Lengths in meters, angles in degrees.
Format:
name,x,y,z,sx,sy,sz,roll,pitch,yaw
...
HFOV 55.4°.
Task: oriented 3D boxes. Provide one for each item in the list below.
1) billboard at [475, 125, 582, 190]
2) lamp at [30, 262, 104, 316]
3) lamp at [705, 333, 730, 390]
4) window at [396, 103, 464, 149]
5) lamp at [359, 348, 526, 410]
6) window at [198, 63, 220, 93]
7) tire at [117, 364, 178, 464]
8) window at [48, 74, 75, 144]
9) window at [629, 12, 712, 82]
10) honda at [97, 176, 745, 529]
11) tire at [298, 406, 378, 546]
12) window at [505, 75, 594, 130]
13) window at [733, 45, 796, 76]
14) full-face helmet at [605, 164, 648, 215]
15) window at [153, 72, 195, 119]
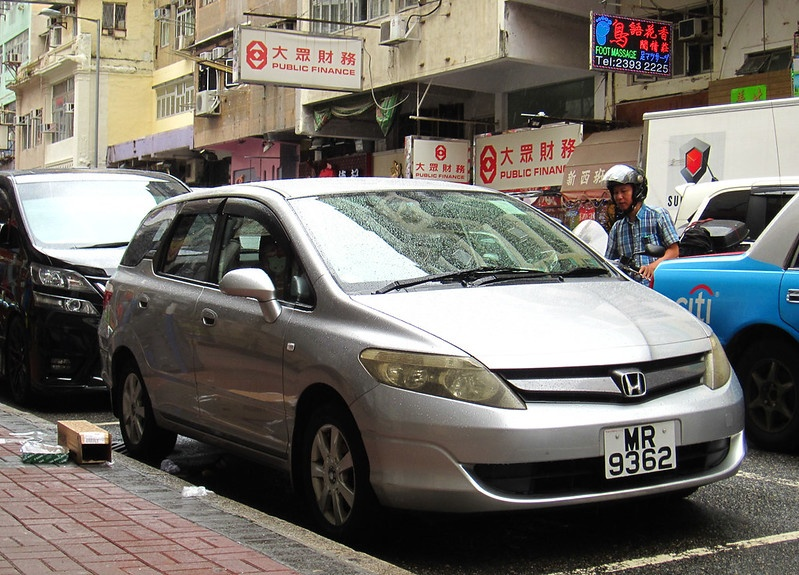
name,x,y,z,sx,sy,sz,roll,pitch,yaw
billboard,3.322,-3.384,20.093,3.445,1.686,0.124,3,4,42
lamp,-3.543,0.005,7.946,0.879,0.481,0.195,4,9,23
lamp,1.798,0.417,4.309,0.081,0.300,0.208,-1,-14,-5
window,1.004,-5.067,23.610,2.094,1.441,1.097,0,-4,34
lamp,0.175,0.456,3.829,0.542,0.182,0.340,-4,-13,43
window,-8.393,-9.072,32.934,0.372,1.548,1.514,6,-4,-44
tire,-2.110,0.995,6.261,0.240,0.806,0.774,-1,-5,-37
window,-22.869,-12.090,51.169,0.192,5.127,4.901,5,-8,-31
window,6.033,-5.318,16.792,0.284,1.337,1.809,-2,3,-29
honda,-0.247,0.337,4.932,2.175,1.477,3.584,0,1,-36
tire,-0.351,1.008,4.192,0.102,0.753,0.644,-7,11,-40
window,4.113,-5.039,20.503,0.081,1.145,1.895,15,-13,-39
window,7.473,-4.644,15.617,0.542,0.545,1.017,-4,9,-28
full-face helmet,2.144,-0.996,7.490,0.452,0.533,0.435,2,-5,-31
window,-12.688,-11.014,43.454,0.350,1.981,4.184,20,30,17
